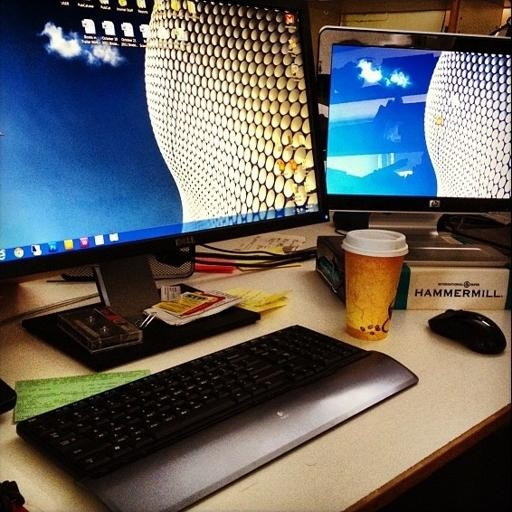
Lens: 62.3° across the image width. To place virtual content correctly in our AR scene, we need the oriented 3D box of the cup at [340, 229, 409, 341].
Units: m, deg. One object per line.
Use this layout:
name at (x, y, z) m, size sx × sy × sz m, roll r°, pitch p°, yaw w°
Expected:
cup at (0.183, 0.053, 0.674) m, size 0.110 × 0.152 × 0.109 m, roll 4°, pitch 3°, yaw 0°

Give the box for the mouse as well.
mouse at (0.315, 0.113, 0.636) m, size 0.053 × 0.035 × 0.098 m, roll -2°, pitch 16°, yaw -25°
